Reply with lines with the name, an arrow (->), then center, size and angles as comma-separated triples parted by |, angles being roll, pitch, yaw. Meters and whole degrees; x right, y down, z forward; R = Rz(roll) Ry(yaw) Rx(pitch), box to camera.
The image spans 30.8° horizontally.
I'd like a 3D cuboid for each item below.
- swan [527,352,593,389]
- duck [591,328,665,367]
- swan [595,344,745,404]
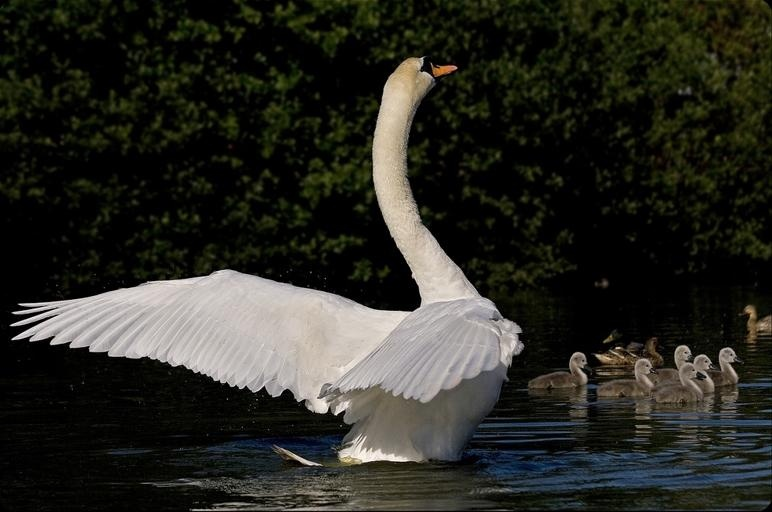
swan -> 3.353, 2.196, 26.571 | 1.146, 0.666, 0.606 | 0, -2, -20
duck -> 5.192, 1.976, 30.046 | 1.452, 0.577, 0.694 | 4, 4, 3
swan -> 5.471, 2.216, 26.344 | 3.338, 1.049, 1.870 | -3, -7, 12
